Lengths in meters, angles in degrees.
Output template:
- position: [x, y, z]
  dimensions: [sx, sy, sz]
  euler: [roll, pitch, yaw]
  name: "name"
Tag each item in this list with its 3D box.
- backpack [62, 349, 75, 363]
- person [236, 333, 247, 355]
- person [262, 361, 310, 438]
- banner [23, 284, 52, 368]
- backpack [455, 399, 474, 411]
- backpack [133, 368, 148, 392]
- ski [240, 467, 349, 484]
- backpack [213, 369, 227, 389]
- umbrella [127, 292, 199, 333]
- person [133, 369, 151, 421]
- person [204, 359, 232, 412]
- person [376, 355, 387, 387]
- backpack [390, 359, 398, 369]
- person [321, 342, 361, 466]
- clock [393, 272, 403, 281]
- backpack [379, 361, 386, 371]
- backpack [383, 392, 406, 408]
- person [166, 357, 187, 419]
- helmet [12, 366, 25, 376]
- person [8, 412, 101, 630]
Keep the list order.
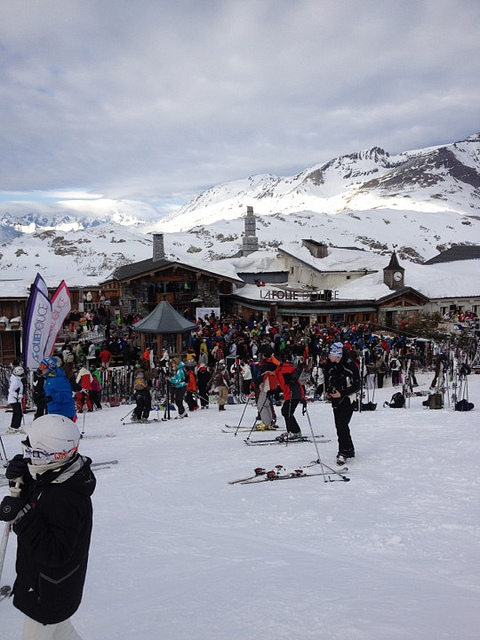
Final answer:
- position: [-4.256, 0.890, 15.504]
  dimensions: [0.270, 0.334, 0.353]
  euler: [5, -30, -15]
  name: "backpack"
- position: [0.068, 1.004, 24.251]
  dimensions: [0.386, 0.544, 0.972]
  euler: [-1, 2, 3]
  name: "person"
- position: [0.908, 1.611, 12.664]
  dimensions: [0.825, 1.598, 0.818]
  euler: [-1, 2, 6]
  name: "person"
- position: [-5.380, 0.143, 16.576]
  dimensions: [0.583, 2.191, 0.791]
  euler: [-1, 2, 3]
  name: "banner"
- position: [5.605, 2.114, 15.652]
  dimensions: [0.443, 0.261, 0.263]
  euler: [-1, 2, 13]
  name: "backpack"
- position: [-2.359, 1.425, 14.946]
  dimensions: [0.305, 0.616, 0.545]
  euler: [-2, 2, -8]
  name: "backpack"
- position: [0.889, 2.495, 10.020]
  dimensions: [0.772, 0.082, 0.132]
  euler: [-3, -3, -15]
  name: "ski"
- position: [-0.596, 1.576, 17.317]
  dimensions: [0.272, 0.473, 0.207]
  euler: [-1, 2, 30]
  name: "backpack"
- position: [-3.145, -0.296, 26.087]
  dimensions: [2.684, 1.212, 2.642]
  euler: [5, 10, 24]
  name: "umbrella"
- position: [-2.366, 1.809, 15.210]
  dimensions: [0.396, 1.339, 1.053]
  euler: [-2, 2, -9]
  name: "person"
- position: [-0.663, 1.826, 18.305]
  dimensions: [0.754, 1.528, 2.709]
  euler: [-2, 2, -4]
  name: "person"
- position: [4.992, 1.812, 22.051]
  dimensions: [0.357, 1.138, 0.789]
  euler: [-1, 2, 13]
  name: "person"
- position: [5.444, 1.562, 22.304]
  dimensions: [0.132, 0.319, 0.329]
  euler: [-2, 2, -28]
  name: "backpack"
- position: [1.771, 1.412, 10.810]
  dimensions: [0.577, 2.069, 0.557]
  euler: [-1, 2, 7]
  name: "person"
- position: [10.192, -2.842, 40.558]
  dimensions: [0.528, 0.505, 0.126]
  euler: [-1, 7, -11]
  name: "clock"
- position: [4.962, 1.613, 21.859]
  dimensions: [0.166, 0.313, 0.307]
  euler: [0, 2, 32]
  name: "backpack"
- position: [4.230, 2.198, 17.231]
  dimensions: [0.667, 0.399, 0.425]
  euler: [0, 2, 36]
  name: "backpack"
- position: [-1.595, 1.798, 16.571]
  dimensions: [0.337, 1.470, 0.841]
  euler: [-2, 2, -6]
  name: "person"
- position: [-4.789, 1.094, 13.546]
  dimensions: [0.210, 0.200, 0.254]
  euler: [-2, 2, -24]
  name: "helmet"
- position: [-1.285, 1.439, 4.322]
  dimensions: [0.573, 1.558, 0.454]
  euler: [-2, 2, -15]
  name: "person"
